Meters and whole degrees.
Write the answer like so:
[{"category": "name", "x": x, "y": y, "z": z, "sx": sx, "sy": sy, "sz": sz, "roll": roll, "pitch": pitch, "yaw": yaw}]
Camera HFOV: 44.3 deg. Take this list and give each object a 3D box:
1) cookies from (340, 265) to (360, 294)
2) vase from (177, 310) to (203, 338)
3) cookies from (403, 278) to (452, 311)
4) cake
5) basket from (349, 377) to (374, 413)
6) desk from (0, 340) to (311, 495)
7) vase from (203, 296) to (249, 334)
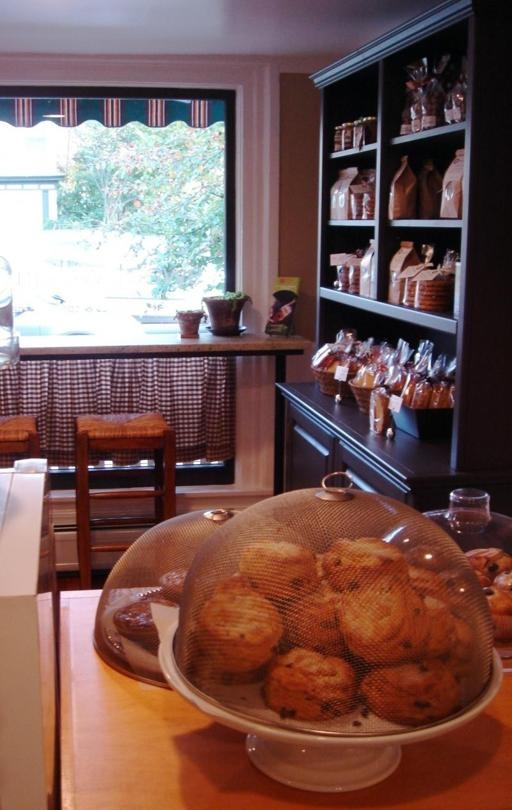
[{"category": "cookies", "x": 0.434, "y": -0.563, "z": 2.858, "sx": 0.038, "sy": 0.133, "sz": 0.095, "roll": 6, "pitch": 3, "yaw": -38}, {"category": "vase", "x": -0.360, "y": -0.439, "z": 3.462, "sx": 0.150, "sy": 0.149, "sz": 0.144, "roll": 0, "pitch": 5, "yaw": -5}, {"category": "cookies", "x": 0.589, "y": -0.369, "z": 2.114, "sx": 0.100, "sy": 0.094, "sz": 0.126, "roll": 5, "pitch": 6, "yaw": 24}, {"category": "cake", "x": 0.046, "y": 0.195, "z": 0.643, "sx": 0.257, "sy": 0.106, "sz": 0.293, "roll": 1, "pitch": 6, "yaw": 1}, {"category": "basket", "x": 0.429, "y": -0.040, "z": 2.572, "sx": 0.116, "sy": 0.095, "sz": 0.113, "roll": 5, "pitch": 17, "yaw": 7}, {"category": "desk", "x": -0.536, "y": 0.029, "z": 3.239, "sx": 0.848, "sy": 0.814, "sz": 0.352, "roll": -1, "pitch": 6, "yaw": -7}, {"category": "vase", "x": -0.156, "y": -0.475, "z": 3.424, "sx": 0.220, "sy": 0.182, "sz": 0.214, "roll": -3, "pitch": 6, "yaw": -19}]
